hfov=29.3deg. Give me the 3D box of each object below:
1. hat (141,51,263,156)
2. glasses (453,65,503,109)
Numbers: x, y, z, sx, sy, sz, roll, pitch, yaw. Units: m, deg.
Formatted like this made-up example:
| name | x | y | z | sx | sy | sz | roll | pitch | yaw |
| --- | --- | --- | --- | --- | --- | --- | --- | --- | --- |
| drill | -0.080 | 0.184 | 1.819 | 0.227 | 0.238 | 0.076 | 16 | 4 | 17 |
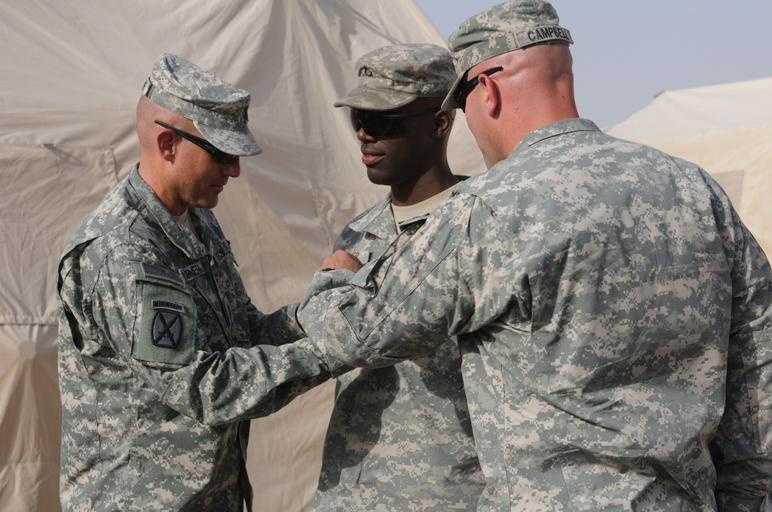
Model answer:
| name | x | y | z | sx | sy | sz | roll | pitch | yaw |
| --- | --- | --- | --- | --- | --- | --- | --- | --- | --- |
| hat | -1.185 | -0.995 | 9.598 | 0.859 | 0.561 | 0.287 | 30 | -67 | -4 |
| glasses | 0.538 | -1.059 | 9.021 | 0.244 | 0.095 | 0.268 | 3 | -41 | -49 |
